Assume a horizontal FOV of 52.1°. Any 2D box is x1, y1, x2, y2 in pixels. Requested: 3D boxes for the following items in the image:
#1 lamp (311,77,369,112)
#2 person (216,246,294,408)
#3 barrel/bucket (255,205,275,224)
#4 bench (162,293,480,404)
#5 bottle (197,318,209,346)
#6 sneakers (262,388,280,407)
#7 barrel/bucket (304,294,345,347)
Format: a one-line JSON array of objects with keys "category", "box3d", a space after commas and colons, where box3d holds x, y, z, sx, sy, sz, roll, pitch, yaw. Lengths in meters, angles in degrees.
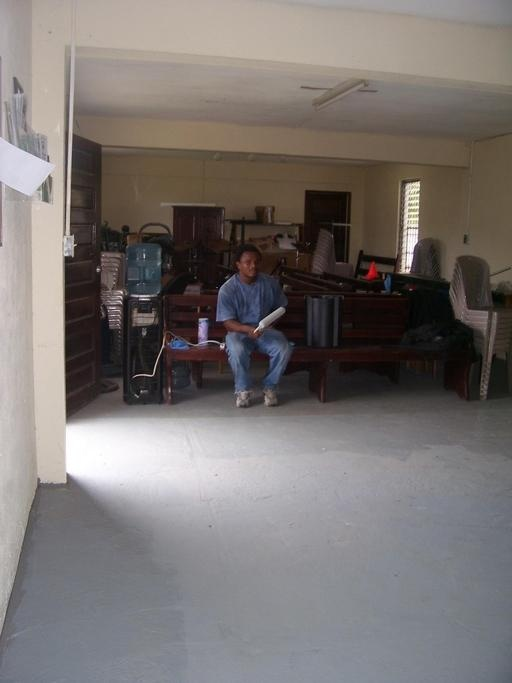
[{"category": "lamp", "box3d": [0.684, -2.062, 4.330, 0.470, 0.130, 0.472, -22, 13, 1]}, {"category": "person", "box3d": [-0.024, -0.155, 4.509, 0.639, 1.341, 0.542, 0, 8, -5]}, {"category": "barrel/bucket", "box3d": [0.189, -2.720, 11.208, 0.408, 0.401, 0.237, 5, 27, 0]}, {"category": "bench", "box3d": [0.536, 0.047, 4.870, 2.700, 0.993, 0.899, -1, 7, 0]}, {"category": "bottle", "box3d": [-0.468, -0.095, 4.614, 0.086, 0.226, 0.133, -1, 8, -11]}, {"category": "sneakers", "box3d": [0.126, 0.462, 4.443, 0.118, 0.140, 0.144, 1, 8, 4]}, {"category": "barrel/bucket", "box3d": [0.585, -0.200, 4.534, 0.393, 0.544, 0.414, 1, 8, 0]}]
